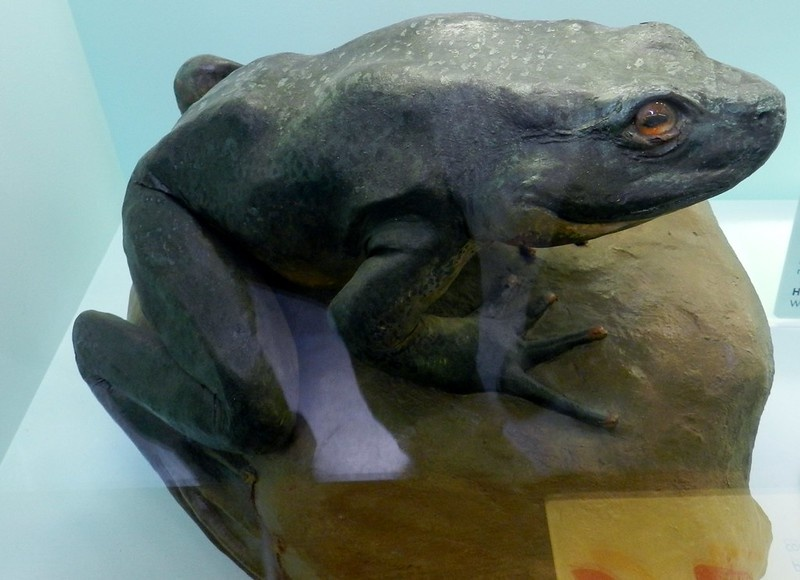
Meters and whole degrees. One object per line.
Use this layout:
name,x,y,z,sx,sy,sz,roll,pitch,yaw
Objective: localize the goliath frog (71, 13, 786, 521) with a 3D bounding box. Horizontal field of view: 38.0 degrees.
goliath frog,0.033,-0.203,2.237,1.307,0.576,1.045,8,40,14
